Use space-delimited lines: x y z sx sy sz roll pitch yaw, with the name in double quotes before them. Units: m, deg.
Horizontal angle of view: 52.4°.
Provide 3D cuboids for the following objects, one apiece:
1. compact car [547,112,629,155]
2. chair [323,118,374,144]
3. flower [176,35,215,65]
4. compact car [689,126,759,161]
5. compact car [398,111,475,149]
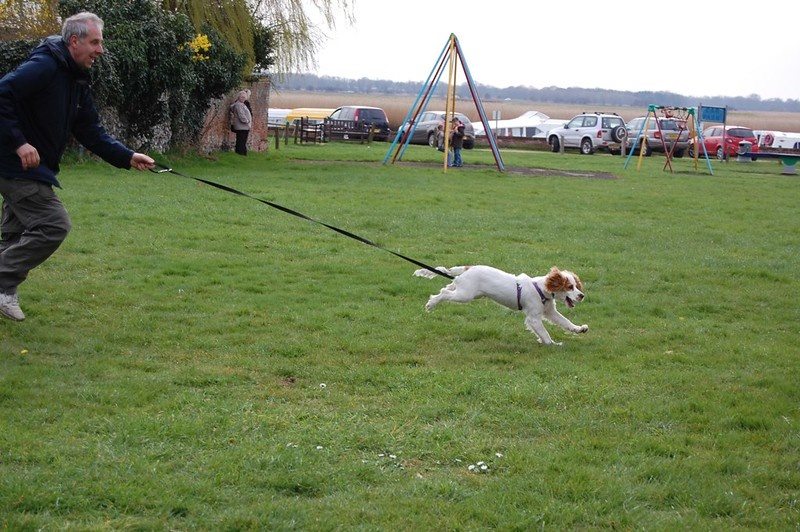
"compact car" 9.388 -6.592 40.652 2.520 2.018 3.931 -12 22 -43
"chair" -2.593 -6.988 41.823 2.455 1.122 1.326 4 15 2
"flower" -5.556 -5.943 22.262 0.953 0.861 0.788 3 -25 5
"compact car" 16.608 -6.294 41.818 2.931 1.637 5.710 7 17 15
"compact car" 1.914 -6.619 40.937 2.411 1.807 4.018 -7 19 -30
